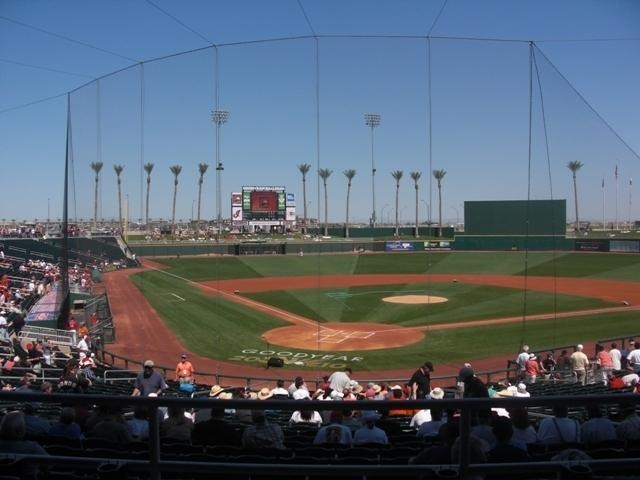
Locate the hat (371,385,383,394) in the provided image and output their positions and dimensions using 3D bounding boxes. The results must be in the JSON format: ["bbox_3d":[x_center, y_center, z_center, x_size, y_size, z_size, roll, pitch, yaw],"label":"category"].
[{"bbox_3d":[1.120,3.010,17.682,0.241,0.050,0.221,-3,8,-19],"label":"hat"}]

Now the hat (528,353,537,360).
[{"bbox_3d":[4.873,2.684,20.192,0.185,0.039,0.168,-18,7,-18],"label":"hat"}]

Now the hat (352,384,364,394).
[{"bbox_3d":[0.693,2.905,17.020,0.244,0.051,0.226,-6,9,-34],"label":"hat"}]

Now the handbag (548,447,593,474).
[{"bbox_3d":[3.173,2.790,11.169,0.494,0.137,0.636,0,5,12],"label":"handbag"}]
